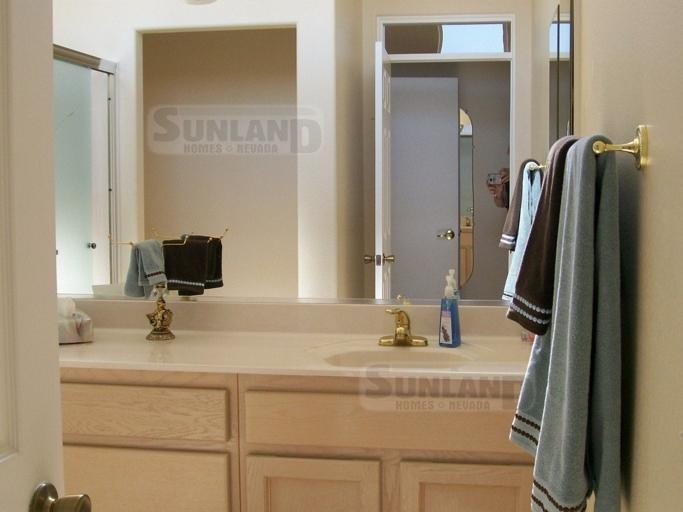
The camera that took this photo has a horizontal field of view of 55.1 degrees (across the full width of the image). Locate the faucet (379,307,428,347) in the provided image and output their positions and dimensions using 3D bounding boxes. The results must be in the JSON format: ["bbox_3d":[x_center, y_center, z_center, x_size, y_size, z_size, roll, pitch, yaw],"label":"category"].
[{"bbox_3d":[0.224,0.238,2.271,0.125,0.104,0.139,0,-2,7],"label":"faucet"}]

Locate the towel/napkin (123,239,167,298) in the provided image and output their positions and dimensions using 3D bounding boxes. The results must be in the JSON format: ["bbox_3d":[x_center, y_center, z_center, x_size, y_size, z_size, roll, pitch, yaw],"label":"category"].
[{"bbox_3d":[-0.732,0.047,2.445,0.150,0.208,0.092,-5,7,-30],"label":"towel/napkin"}]

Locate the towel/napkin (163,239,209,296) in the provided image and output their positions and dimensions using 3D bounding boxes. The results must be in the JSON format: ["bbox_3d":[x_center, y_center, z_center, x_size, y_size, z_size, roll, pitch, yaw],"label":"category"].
[{"bbox_3d":[-0.594,0.041,2.490,0.176,0.205,0.064,-1,2,-7],"label":"towel/napkin"}]

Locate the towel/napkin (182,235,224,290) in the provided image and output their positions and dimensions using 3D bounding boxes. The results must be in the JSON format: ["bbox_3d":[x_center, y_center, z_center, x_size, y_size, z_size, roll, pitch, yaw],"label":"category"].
[{"bbox_3d":[-0.536,0.031,2.493,0.171,0.184,0.071,-3,5,-29],"label":"towel/napkin"}]
